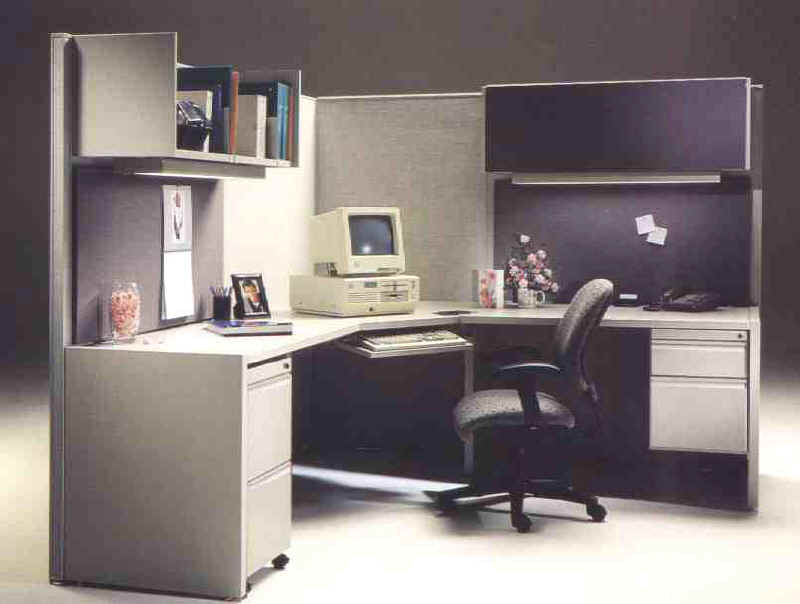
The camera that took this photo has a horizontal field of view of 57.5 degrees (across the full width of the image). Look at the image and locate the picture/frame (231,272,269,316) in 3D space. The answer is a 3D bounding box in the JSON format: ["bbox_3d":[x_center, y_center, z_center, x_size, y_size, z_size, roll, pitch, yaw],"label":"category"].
[{"bbox_3d":[-0.770,-0.028,3.653,0.124,0.230,0.188,-8,2,36],"label":"picture/frame"}]

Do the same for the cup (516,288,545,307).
[{"bbox_3d":[0.765,-0.027,4.274,0.159,0.099,0.097,1,4,13],"label":"cup"}]

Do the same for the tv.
[{"bbox_3d":[-0.244,-0.284,4.081,0.427,0.385,0.410,0,-2,-43],"label":"tv"}]

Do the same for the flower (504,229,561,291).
[{"bbox_3d":[0.773,-0.227,4.347,0.280,0.382,0.209,-2,0,-6],"label":"flower"}]

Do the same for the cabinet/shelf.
[{"bbox_3d":[1.247,-1.031,4.218,1.430,0.569,0.464,3,25,19],"label":"cabinet/shelf"}]

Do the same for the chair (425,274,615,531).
[{"bbox_3d":[0.648,0.479,3.694,0.819,1.158,0.930,3,2,22],"label":"chair"}]
